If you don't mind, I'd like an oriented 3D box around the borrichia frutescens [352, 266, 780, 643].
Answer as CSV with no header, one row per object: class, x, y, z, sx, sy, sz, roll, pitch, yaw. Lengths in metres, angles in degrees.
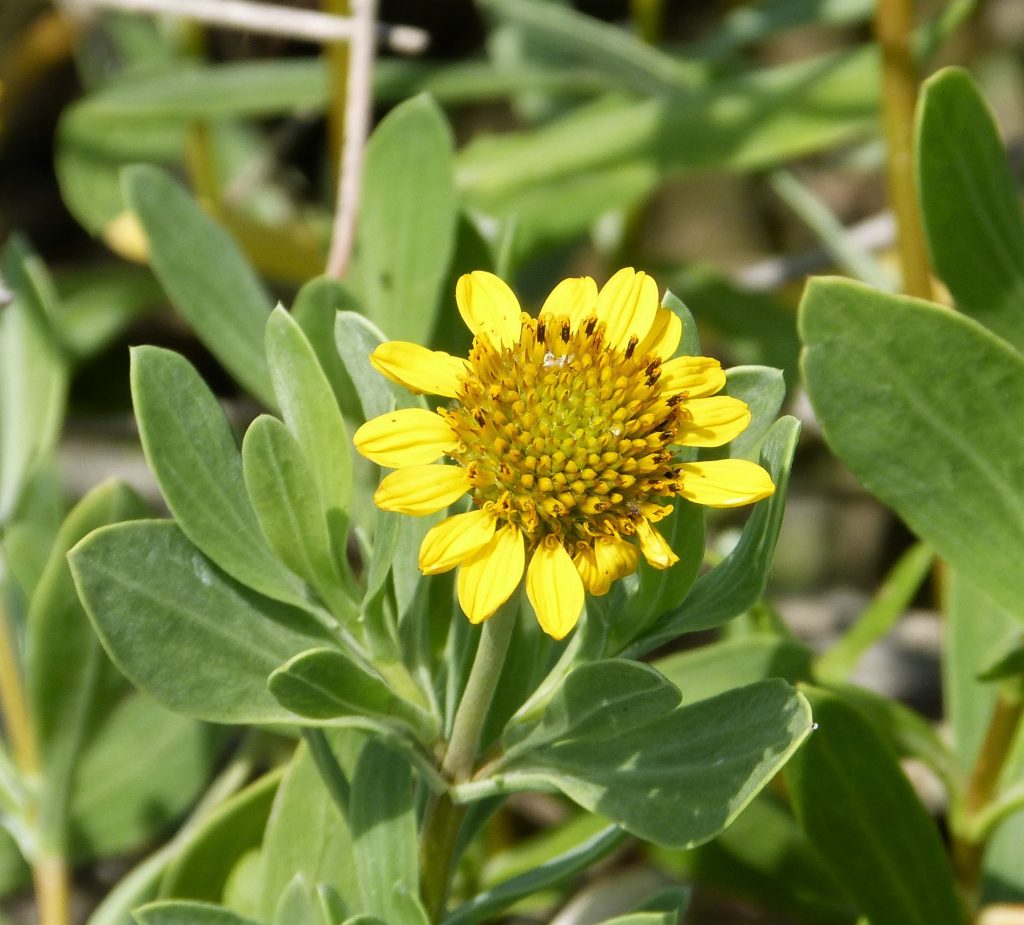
borrichia frutescens,0.048,-0.004,0.711,0.288,0.293,0.109,-2,61,-11
